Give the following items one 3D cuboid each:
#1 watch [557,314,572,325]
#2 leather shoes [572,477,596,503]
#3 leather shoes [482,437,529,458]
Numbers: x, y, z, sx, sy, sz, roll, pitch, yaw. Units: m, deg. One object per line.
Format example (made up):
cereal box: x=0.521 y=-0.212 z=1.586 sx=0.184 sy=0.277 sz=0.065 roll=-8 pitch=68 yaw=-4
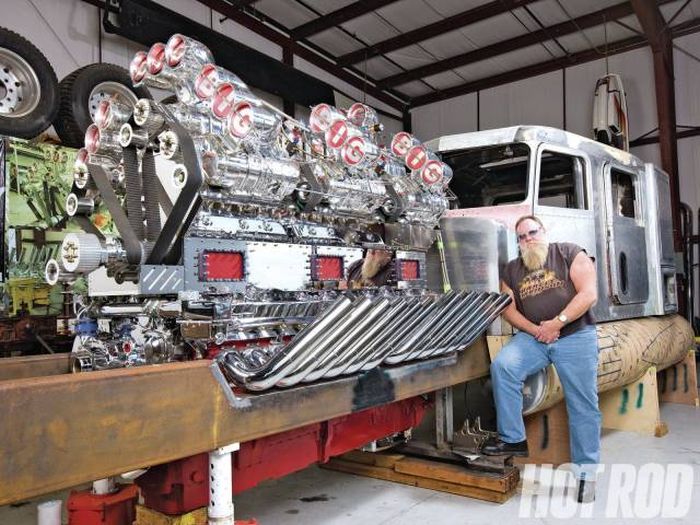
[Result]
watch: x=1.525 y=0.398 z=3.834 sx=0.077 sy=0.055 sz=0.026 roll=-1 pitch=0 yaw=21
leather shoes: x=1.681 y=1.620 z=3.877 sx=0.150 sy=0.164 sz=0.145 roll=2 pitch=-5 yaw=-28
leather shoes: x=1.156 y=1.388 z=4.040 sx=0.348 sy=0.158 sz=0.166 roll=4 pitch=-7 yaw=5
